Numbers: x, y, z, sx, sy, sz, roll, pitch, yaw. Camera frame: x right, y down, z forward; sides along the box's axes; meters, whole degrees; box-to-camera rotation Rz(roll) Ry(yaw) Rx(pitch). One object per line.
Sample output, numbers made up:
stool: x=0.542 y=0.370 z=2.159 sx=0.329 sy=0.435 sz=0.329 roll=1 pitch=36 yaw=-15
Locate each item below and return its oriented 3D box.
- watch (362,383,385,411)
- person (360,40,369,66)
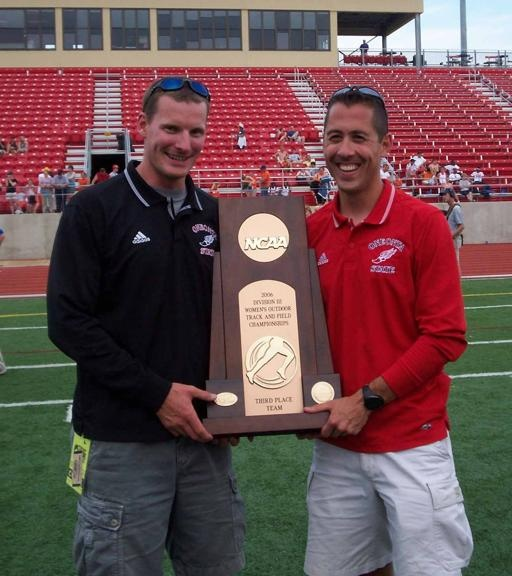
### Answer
watch: x=0.338 y=0.324 z=1.695 sx=0.060 sy=0.077 sz=0.076 roll=-3 pitch=8 yaw=-2
person: x=5.933 y=-13.279 z=31.206 sx=0.398 sy=1.451 sz=1.302 roll=0 pitch=9 yaw=11
